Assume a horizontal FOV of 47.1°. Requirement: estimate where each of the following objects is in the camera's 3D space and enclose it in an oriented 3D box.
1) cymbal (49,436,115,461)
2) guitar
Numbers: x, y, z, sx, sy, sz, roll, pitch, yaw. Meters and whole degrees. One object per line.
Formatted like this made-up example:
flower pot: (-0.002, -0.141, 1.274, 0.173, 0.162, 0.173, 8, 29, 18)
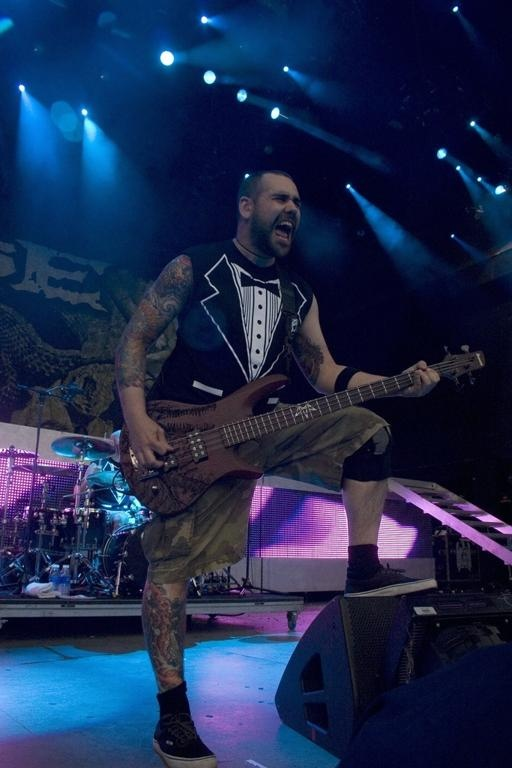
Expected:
cymbal: (-1.791, 0.692, 6.106, 0.585, 0.285, 0.781, 3, 1, -29)
guitar: (-0.013, 0.204, 2.015, 0.864, 0.508, 0.234, 3, 1, -18)
